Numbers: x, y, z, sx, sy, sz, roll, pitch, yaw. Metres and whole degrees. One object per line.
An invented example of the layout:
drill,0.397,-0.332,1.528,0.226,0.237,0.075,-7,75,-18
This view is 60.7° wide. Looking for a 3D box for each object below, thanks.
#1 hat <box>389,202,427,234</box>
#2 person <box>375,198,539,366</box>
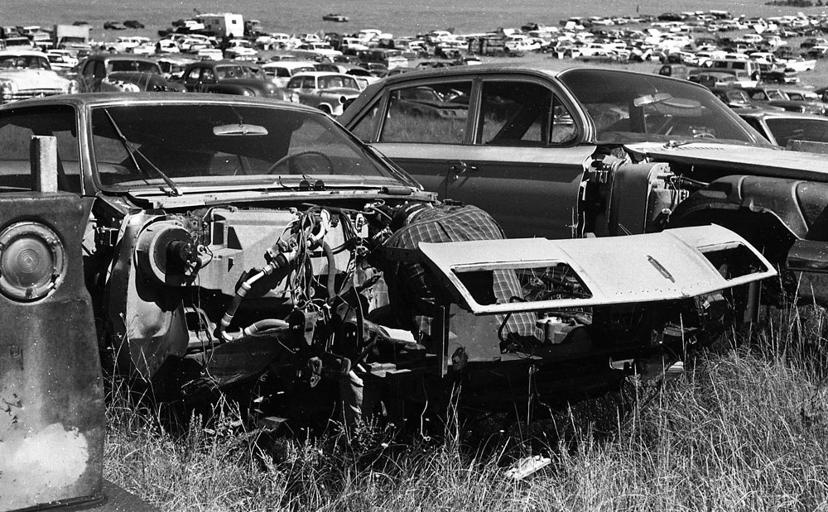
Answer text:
hat,-0.063,-0.288,5.192,0.262,0.184,0.234,-17,6,-33
person,0.295,0.163,4.513,1.022,0.799,1.473,2,10,-3
